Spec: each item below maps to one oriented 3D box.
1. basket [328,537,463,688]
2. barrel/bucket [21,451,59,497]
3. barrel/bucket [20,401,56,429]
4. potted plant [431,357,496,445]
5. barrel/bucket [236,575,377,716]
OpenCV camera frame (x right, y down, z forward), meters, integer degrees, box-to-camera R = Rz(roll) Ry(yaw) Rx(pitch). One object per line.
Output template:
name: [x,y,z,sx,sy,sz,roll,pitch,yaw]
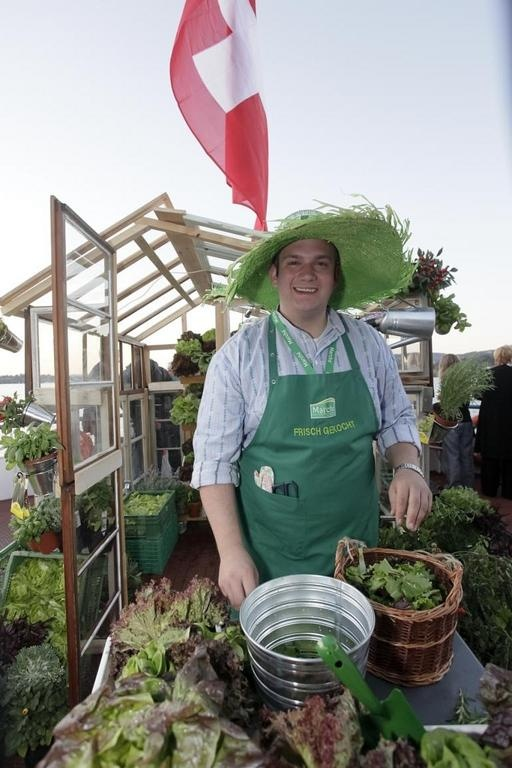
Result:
basket: [0.272,0.434,1.060,0.217,0.230,0.256,-2,-6,17]
barrel/bucket: [-1.172,0.504,3.048,0.236,0.228,0.225,-1,8,0]
barrel/bucket: [-1.452,0.207,3.585,0.169,0.172,0.137,11,47,6]
potted plant: [1.342,0.054,3.619,0.428,0.535,0.411,3,-4,37]
barrel/bucket: [0.064,0.419,0.806,0.144,0.092,0.137,9,5,-1]
